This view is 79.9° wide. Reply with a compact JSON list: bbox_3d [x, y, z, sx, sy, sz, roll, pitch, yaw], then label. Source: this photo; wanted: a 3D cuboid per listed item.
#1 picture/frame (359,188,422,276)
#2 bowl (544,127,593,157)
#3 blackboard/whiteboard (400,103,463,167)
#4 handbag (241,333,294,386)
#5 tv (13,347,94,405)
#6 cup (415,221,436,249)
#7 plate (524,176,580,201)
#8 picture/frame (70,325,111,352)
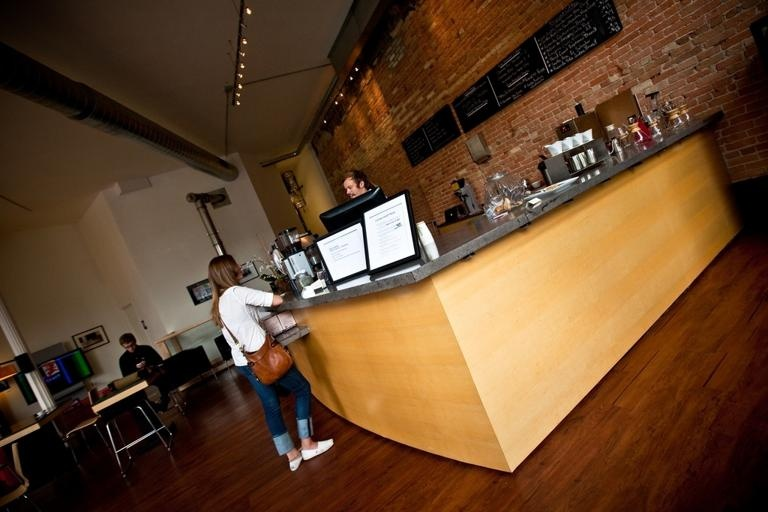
[{"bbox_3d":[0.028,-0.174,3.785,0.068,0.692,0.670,2,-13,-44],"label":"picture/frame"},{"bbox_3d":[1.887,-1.174,4.751,0.439,0.119,0.243,-19,3,38],"label":"bowl"},{"bbox_3d":[0.759,-2.019,7.776,0.091,0.882,1.383,-21,3,-30],"label":"blackboard/whiteboard"},{"bbox_3d":[-1.125,0.990,4.407,0.416,0.449,0.253,-43,8,-12],"label":"handbag"},{"bbox_3d":[-6.366,2.312,8.781,0.159,0.804,1.172,-9,13,47],"label":"tv"},{"bbox_3d":[0.315,-0.179,3.688,0.103,0.189,0.170,-20,3,4],"label":"cup"},{"bbox_3d":[1.476,-0.592,4.115,0.471,0.077,0.619,-19,3,41],"label":"plate"},{"bbox_3d":[-6.512,1.829,10.128,0.022,0.461,0.645,-23,-8,34],"label":"picture/frame"}]
